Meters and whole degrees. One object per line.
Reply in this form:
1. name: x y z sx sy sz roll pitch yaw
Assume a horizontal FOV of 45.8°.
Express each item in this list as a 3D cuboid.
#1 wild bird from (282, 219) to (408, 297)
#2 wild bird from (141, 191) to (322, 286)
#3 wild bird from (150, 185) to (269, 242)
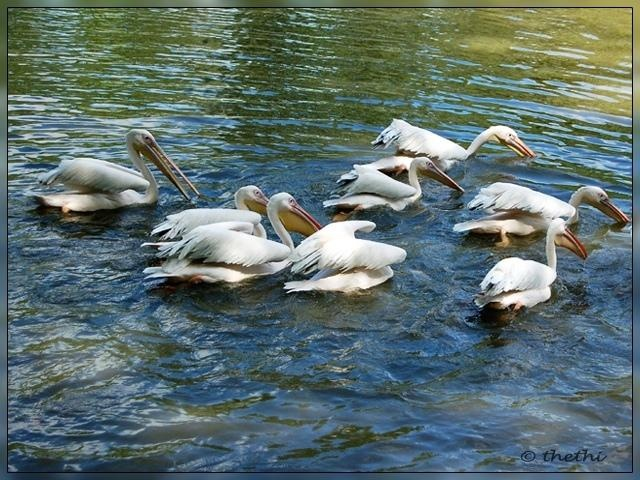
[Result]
1. wild bird: 0.414 0.193 9.268 1.670 0.469 1.104 -23 30 -19
2. wild bird: -1.083 0.017 9.336 2.491 0.669 0.992 -7 15 -21
3. wild bird: -1.399 -0.286 9.955 1.801 0.458 0.661 -10 7 -10
